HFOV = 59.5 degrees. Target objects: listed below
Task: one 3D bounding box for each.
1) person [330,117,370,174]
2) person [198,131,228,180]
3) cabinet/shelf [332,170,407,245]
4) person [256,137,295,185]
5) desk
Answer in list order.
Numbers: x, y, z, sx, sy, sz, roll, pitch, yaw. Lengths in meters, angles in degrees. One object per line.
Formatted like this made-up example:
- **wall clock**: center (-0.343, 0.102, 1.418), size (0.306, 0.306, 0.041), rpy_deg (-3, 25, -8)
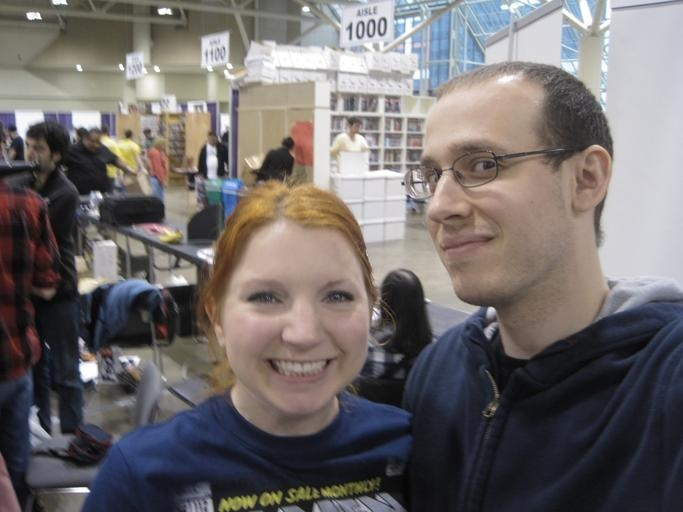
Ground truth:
- **person**: center (0.144, -1.988, 10.512), size (0.647, 0.930, 0.592), rpy_deg (2, 5, -3)
- **person**: center (-2.808, -2.285, 13.208), size (0.605, 1.086, 0.777), rpy_deg (1, 5, -10)
- **cabinet/shelf**: center (0.372, -0.892, 9.815), size (1.447, 1.489, 1.071), rpy_deg (-3, 10, -15)
- **person**: center (-0.991, -1.554, 9.201), size (0.563, 0.686, 1.079), rpy_deg (1, 5, -8)
- **desk**: center (-1.913, -0.168, 5.704), size (0.912, 0.221, 0.292), rpy_deg (31, 29, 27)
